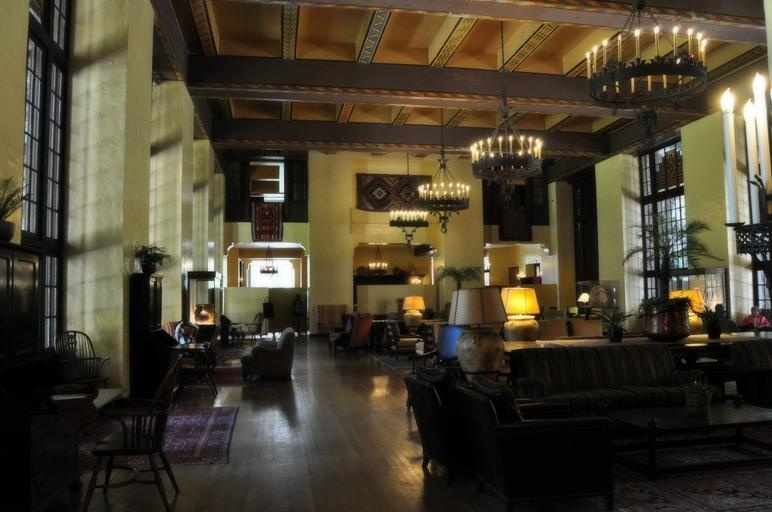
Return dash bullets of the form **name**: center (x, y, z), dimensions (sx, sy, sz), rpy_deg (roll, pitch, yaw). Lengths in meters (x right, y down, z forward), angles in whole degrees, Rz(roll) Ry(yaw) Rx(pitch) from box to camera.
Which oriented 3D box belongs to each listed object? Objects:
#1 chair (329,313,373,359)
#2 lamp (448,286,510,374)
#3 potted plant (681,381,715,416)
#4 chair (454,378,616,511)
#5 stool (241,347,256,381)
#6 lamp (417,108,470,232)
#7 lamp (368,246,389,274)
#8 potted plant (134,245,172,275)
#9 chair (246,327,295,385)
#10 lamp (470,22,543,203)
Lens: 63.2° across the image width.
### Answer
- **chair**: center (-1.126, 2.029, 16.234), dimensions (1.161, 1.355, 0.976), rpy_deg (1, -1, 40)
- **lamp**: center (1.207, 0.982, 8.164), dimensions (0.721, 1.123, 0.691), rpy_deg (-2, -5, 9)
- **potted plant**: center (3.525, 1.611, 7.073), dimensions (0.284, 0.372, 0.248), rpy_deg (-3, -6, 13)
- **chair**: center (1.525, 1.855, 6.663), dimensions (1.238, 1.172, 1.212), rpy_deg (-1, -4, -11)
- **stool**: center (-2.660, 2.123, 12.126), dimensions (0.394, 0.482, 0.692), rpy_deg (0, 0, -8)
- **lamp**: center (1.512, -2.102, 16.460), dimensions (1.252, 2.922, 1.230), rpy_deg (-3, 3, -40)
- **lamp**: center (-0.302, 0.162, 24.784), dimensions (0.704, 1.222, 1.485), rpy_deg (-1, -5, -1)
- **potted plant**: center (-3.732, 0.040, 9.900), dimensions (0.593, 0.470, 0.600), rpy_deg (0, -4, 2)
- **chair**: center (-2.279, 2.021, 12.371), dimensions (0.940, 0.760, 0.966), rpy_deg (1, -5, -5)
- **lamp**: center (2.359, -2.849, 12.461), dimensions (1.330, 3.349, 1.273), rpy_deg (-1, 0, -38)
